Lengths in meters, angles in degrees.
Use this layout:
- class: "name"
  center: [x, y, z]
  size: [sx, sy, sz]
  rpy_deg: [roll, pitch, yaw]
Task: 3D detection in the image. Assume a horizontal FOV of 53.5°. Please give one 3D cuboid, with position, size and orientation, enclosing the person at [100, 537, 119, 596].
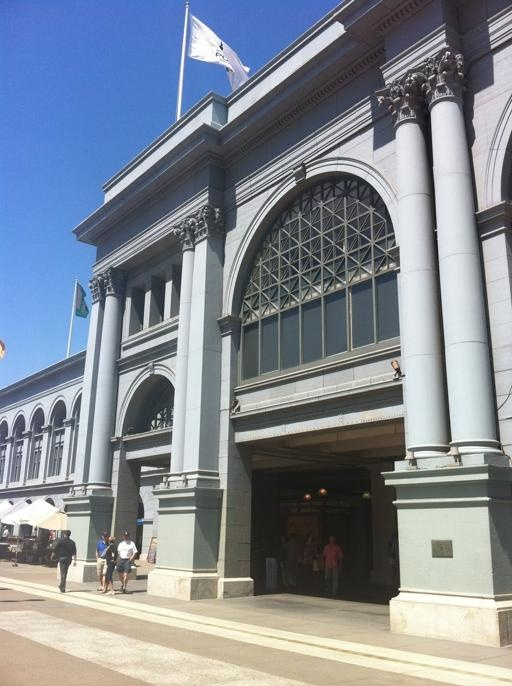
- class: "person"
  center: [-5.063, 7.638, 17.557]
  size: [0.472, 1.674, 2.487]
  rpy_deg: [5, -20, -16]

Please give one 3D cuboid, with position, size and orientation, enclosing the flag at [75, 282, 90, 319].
- class: "flag"
  center: [-12.258, -3.010, 35.620]
  size: [0.899, 2.817, 1.086]
  rpy_deg: [7, -19, -22]
